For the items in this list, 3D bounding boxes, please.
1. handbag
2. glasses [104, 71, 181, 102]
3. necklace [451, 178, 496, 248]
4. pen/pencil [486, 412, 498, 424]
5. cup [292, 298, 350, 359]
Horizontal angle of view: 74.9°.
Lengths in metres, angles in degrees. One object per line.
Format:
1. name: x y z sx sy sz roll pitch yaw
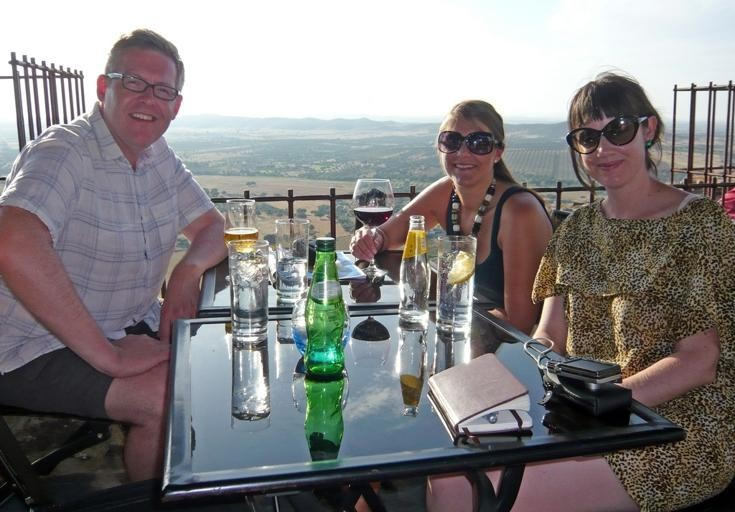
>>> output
1. handbag: 0.658 0.381 1.465 0.146 0.111 0.211 -5 5 -28
2. glasses: -1.204 -0.937 2.604 0.212 0.055 0.200 11 11 -41
3. necklace: 0.681 -0.281 3.091 0.298 0.380 0.083 1 -9 36
4. pen/pencil: 0.344 0.450 1.321 0.021 0.016 0.027 -1 40 11
5. cup: -0.162 0.246 1.771 0.224 0.203 0.213 1 7 0
